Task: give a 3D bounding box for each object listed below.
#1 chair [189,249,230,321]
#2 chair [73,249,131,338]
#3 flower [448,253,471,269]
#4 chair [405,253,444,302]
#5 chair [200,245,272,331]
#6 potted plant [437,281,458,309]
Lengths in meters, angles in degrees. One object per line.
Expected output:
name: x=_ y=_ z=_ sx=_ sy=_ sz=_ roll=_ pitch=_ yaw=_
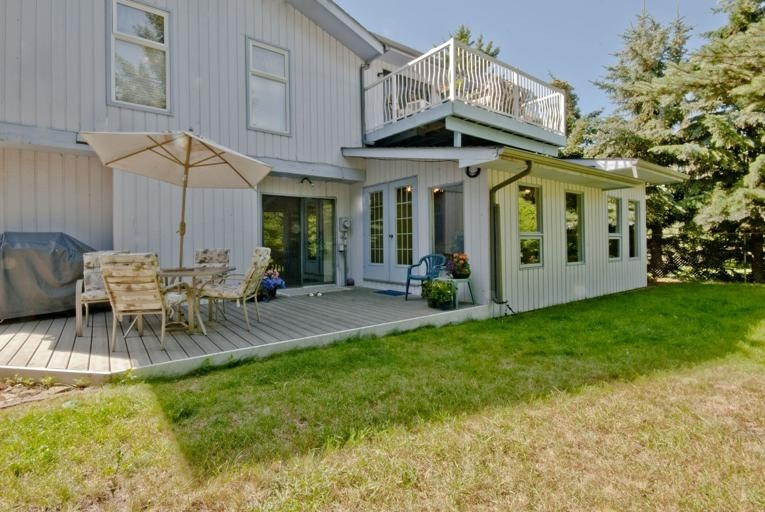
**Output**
chair: x=-3.299 y=0.554 z=12.068 sx=0.814 sy=0.869 sz=1.317 roll=6 pitch=-41 yaw=-16
chair: x=-4.724 y=0.604 z=10.685 sx=0.937 sy=1.375 sz=0.853 roll=1 pitch=9 yaw=28
flower: x=1.537 y=0.096 z=12.456 sx=0.292 sy=0.282 sz=0.309 roll=1 pitch=2 yaw=36
chair: x=0.928 y=0.425 z=12.856 sx=0.657 sy=0.923 sz=0.615 roll=3 pitch=2 yaw=45
chair: x=-2.630 y=0.504 z=11.060 sx=1.092 sy=1.452 sz=1.093 roll=4 pitch=3 yaw=14
potted plant: x=1.314 y=0.750 z=11.947 sx=0.253 sy=0.531 sz=0.245 roll=-3 pitch=2 yaw=-1
